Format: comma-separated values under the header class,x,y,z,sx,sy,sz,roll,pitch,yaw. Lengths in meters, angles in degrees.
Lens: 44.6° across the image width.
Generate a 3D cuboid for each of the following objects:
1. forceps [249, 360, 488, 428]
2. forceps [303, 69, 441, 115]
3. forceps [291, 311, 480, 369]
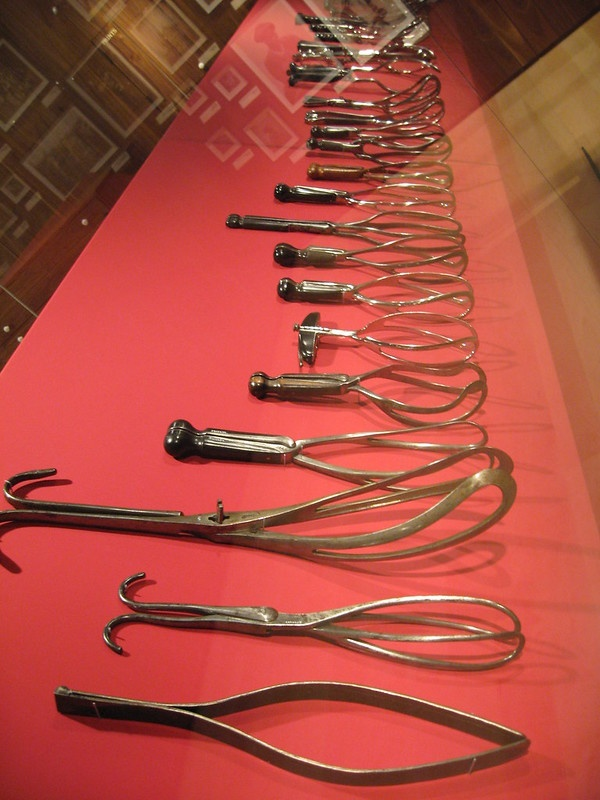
class,x,y,z,sx,sy,sz,roll,pitch,yaw
forceps,0.113,-0.013,1.236,0.390,0.138,0.137,1,-19,9
forceps,0.232,-0.913,2.218,0.370,0.183,0.088,7,-41,15
forceps,0.148,-0.104,1.362,0.353,0.117,0.065,4,-53,6
